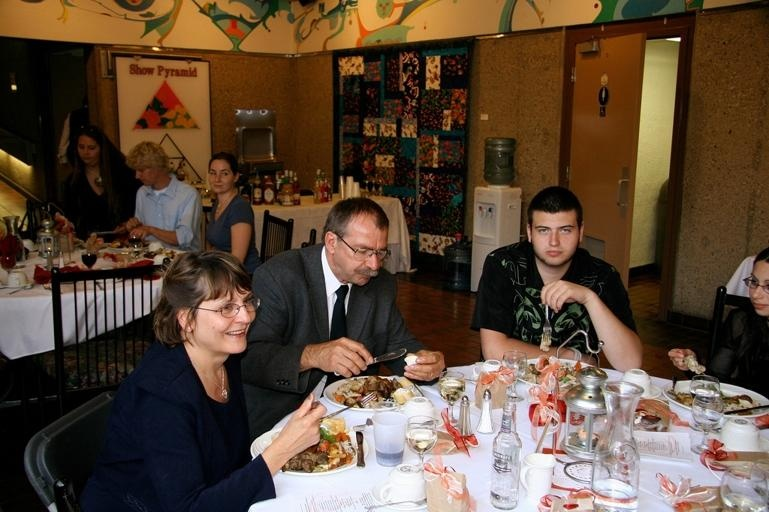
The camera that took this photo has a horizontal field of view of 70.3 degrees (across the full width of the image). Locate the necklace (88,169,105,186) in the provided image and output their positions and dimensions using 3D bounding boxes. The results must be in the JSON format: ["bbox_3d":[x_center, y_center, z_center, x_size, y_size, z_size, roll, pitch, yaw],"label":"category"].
[{"bbox_3d":[-2.722,-0.740,5.178,0.168,0.128,0.050,6,11,24],"label":"necklace"}]

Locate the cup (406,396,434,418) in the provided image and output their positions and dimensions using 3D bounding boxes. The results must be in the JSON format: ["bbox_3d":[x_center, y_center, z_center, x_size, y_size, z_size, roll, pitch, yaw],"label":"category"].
[{"bbox_3d":[0.138,0.604,2.179,0.086,0.060,0.065,-3,4,12],"label":"cup"}]

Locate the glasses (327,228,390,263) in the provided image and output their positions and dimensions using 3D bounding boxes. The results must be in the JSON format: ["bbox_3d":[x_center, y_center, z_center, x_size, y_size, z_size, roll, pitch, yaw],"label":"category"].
[{"bbox_3d":[-0.111,-0.042,2.591,0.170,0.048,0.175,7,23,-48],"label":"glasses"}]

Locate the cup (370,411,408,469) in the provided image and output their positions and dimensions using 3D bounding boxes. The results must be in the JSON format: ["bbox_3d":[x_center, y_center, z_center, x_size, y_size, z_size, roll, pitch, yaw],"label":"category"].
[{"bbox_3d":[0.016,0.684,2.010,0.141,0.163,0.149,-11,3,1],"label":"cup"}]

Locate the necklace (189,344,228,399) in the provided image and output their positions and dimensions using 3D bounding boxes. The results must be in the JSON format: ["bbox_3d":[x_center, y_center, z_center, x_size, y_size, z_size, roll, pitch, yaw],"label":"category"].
[{"bbox_3d":[-0.687,0.448,2.117,0.129,0.227,0.060,-14,-1,-43],"label":"necklace"}]

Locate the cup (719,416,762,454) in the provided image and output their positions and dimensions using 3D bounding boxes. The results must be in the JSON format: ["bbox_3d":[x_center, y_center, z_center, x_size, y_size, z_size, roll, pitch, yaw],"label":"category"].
[{"bbox_3d":[1.323,0.668,2.045,0.114,0.093,0.115,4,-2,0],"label":"cup"}]

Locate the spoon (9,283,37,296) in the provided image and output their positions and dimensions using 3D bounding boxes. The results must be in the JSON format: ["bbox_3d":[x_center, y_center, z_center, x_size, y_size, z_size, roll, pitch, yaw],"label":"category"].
[{"bbox_3d":[-2.378,0.226,3.576,0.376,0.062,0.054,-11,-6,39],"label":"spoon"}]

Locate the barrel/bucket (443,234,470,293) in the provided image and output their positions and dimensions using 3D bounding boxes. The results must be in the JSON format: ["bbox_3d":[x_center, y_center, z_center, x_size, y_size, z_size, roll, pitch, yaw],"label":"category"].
[{"bbox_3d":[0.982,0.104,7.133,0.424,0.708,0.429,2,-4,0],"label":"barrel/bucket"}]

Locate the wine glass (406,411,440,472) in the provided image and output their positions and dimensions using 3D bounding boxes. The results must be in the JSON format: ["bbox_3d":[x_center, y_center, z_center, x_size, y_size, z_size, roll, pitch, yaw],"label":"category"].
[{"bbox_3d":[0.132,0.669,1.954,0.124,0.203,0.129,4,8,34],"label":"wine glass"}]

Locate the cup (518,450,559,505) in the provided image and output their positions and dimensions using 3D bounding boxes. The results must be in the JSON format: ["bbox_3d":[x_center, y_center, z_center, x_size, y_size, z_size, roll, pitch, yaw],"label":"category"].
[{"bbox_3d":[0.547,0.745,1.852,0.153,0.155,0.095,-2,10,-24],"label":"cup"}]

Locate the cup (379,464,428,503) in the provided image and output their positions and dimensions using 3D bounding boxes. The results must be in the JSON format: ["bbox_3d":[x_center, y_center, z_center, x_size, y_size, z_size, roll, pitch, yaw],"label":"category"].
[{"bbox_3d":[0.074,0.748,1.794,0.121,0.070,0.125,0,4,0],"label":"cup"}]

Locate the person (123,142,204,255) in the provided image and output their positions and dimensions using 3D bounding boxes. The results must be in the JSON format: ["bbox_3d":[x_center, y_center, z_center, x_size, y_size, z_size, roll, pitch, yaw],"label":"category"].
[{"bbox_3d":[-1.969,-0.534,4.858,0.617,0.933,0.509,1,10,-6],"label":"person"}]

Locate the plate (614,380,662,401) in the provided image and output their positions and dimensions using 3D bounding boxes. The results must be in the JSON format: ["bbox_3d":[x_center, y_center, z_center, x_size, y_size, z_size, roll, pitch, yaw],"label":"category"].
[{"bbox_3d":[0.947,0.505,2.044,0.177,0.032,0.182,7,7,29],"label":"plate"}]

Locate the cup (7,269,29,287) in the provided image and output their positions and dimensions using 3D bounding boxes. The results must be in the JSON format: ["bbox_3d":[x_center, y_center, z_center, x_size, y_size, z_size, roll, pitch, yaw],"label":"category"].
[{"bbox_3d":[-2.426,0.147,3.616,0.112,0.111,0.115,1,0,0],"label":"cup"}]

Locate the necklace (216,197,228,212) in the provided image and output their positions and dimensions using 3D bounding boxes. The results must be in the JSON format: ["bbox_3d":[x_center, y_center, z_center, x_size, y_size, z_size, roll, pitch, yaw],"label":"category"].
[{"bbox_3d":[-1.408,-0.443,4.743,0.088,0.124,0.049,16,14,35],"label":"necklace"}]

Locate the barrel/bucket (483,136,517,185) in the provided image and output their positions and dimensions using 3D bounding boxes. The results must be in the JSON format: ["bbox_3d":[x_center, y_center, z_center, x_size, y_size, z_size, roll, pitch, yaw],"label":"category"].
[{"bbox_3d":[1.420,-1.166,6.764,0.446,0.604,0.457,-1,14,0],"label":"barrel/bucket"}]

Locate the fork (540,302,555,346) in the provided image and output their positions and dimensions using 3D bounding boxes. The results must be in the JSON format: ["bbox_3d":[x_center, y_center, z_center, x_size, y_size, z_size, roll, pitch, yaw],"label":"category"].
[{"bbox_3d":[0.836,0.348,2.793,0.035,0.249,0.038,-1,-17,5],"label":"fork"}]

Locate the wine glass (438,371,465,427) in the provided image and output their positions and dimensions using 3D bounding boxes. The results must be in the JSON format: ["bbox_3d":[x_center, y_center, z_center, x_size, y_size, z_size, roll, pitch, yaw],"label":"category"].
[{"bbox_3d":[0.315,0.602,2.327,0.144,0.254,0.141,0,7,11],"label":"wine glass"}]

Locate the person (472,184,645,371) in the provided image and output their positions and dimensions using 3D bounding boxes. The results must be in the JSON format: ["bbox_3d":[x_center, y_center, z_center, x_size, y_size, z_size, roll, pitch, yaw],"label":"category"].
[{"bbox_3d":[0.915,0.113,2.860,0.847,0.934,0.604,6,10,21],"label":"person"}]
